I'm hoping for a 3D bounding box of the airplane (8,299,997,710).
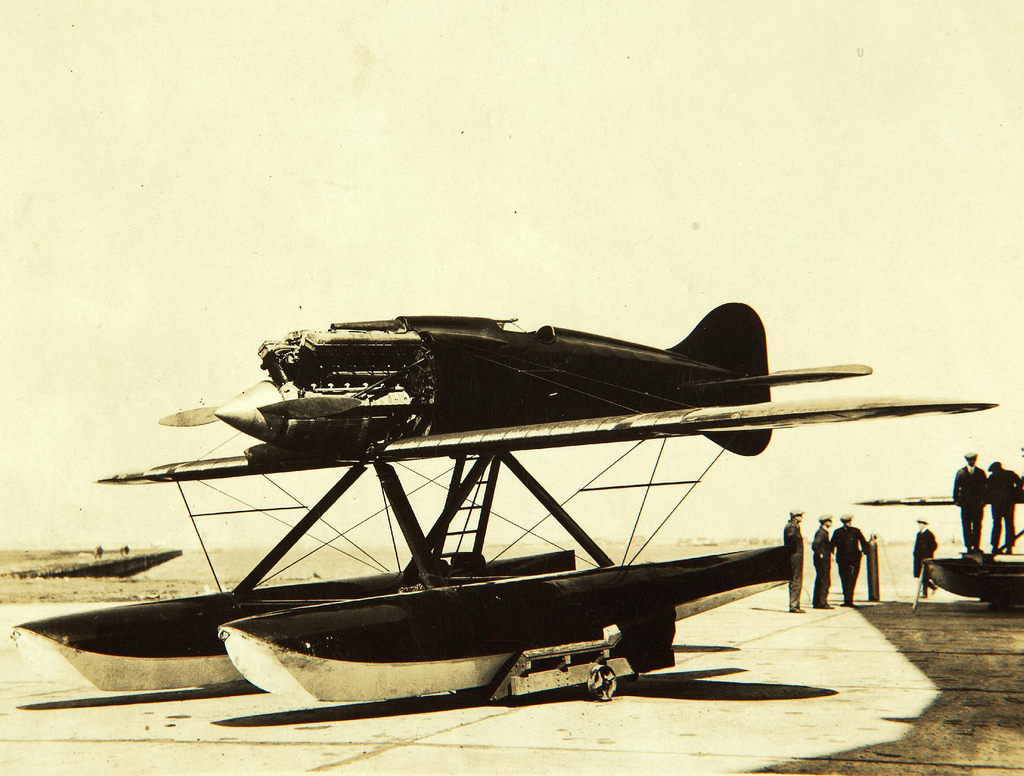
[{"bbox_3d":[-0.899,1.137,18.840,9.334,4.873,5.958,-3,-5,-2],"label":"airplane"}]
